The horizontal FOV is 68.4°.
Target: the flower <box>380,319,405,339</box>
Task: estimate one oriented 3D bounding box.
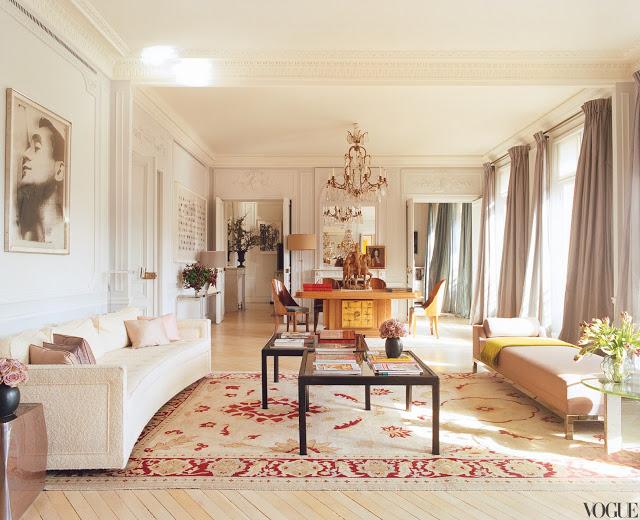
[{"bbox_3d":[0.632,0.587,4.118,0.190,0.168,0.181,-9,8,-37],"label":"flower"}]

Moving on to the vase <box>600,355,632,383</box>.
[{"bbox_3d":[2.224,0.818,3.584,0.187,0.174,0.191,1,2,-35],"label":"vase"}]

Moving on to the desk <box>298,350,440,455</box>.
[{"bbox_3d":[0.377,1.138,3.932,1.110,0.624,0.818,-1,5,-3],"label":"desk"}]

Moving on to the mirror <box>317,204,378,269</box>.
[{"bbox_3d":[0.490,-0.458,9.280,1.548,1.486,0.074,0,1,-4],"label":"mirror"}]

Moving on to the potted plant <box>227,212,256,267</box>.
[{"bbox_3d":[-2.211,-0.553,13.250,0.572,1.415,0.795,1,5,14],"label":"potted plant"}]

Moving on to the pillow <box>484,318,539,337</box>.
[{"bbox_3d":[2.178,0.771,5.362,0.350,0.100,0.325,0,0,6],"label":"pillow"}]

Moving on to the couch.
[{"bbox_3d":[-1.818,0.965,4.347,1.006,0.946,2.391,0,5,2],"label":"couch"}]

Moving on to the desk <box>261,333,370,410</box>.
[{"bbox_3d":[-0.034,1.062,4.703,0.991,0.533,1.031,0,0,-1],"label":"desk"}]

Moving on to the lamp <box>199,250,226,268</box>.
[{"bbox_3d":[-1.961,-0.013,8.578,0.367,0.202,0.343,1,0,9],"label":"lamp"}]

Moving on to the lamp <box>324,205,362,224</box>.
[{"bbox_3d":[0.415,-0.918,9.445,0.476,0.291,0.447,3,1,10],"label":"lamp"}]

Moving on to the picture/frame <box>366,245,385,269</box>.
[{"bbox_3d":[1.127,-0.042,9.445,0.522,0.586,0.080,0,4,3],"label":"picture/frame"}]

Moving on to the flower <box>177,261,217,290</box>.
[{"bbox_3d":[-2.128,0.266,8.067,0.515,0.454,0.483,2,1,-39],"label":"flower"}]

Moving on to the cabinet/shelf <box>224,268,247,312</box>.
[{"bbox_3d":[-2.089,0.739,11.580,0.420,0.641,1.213,-1,0,-5],"label":"cabinet/shelf"}]
